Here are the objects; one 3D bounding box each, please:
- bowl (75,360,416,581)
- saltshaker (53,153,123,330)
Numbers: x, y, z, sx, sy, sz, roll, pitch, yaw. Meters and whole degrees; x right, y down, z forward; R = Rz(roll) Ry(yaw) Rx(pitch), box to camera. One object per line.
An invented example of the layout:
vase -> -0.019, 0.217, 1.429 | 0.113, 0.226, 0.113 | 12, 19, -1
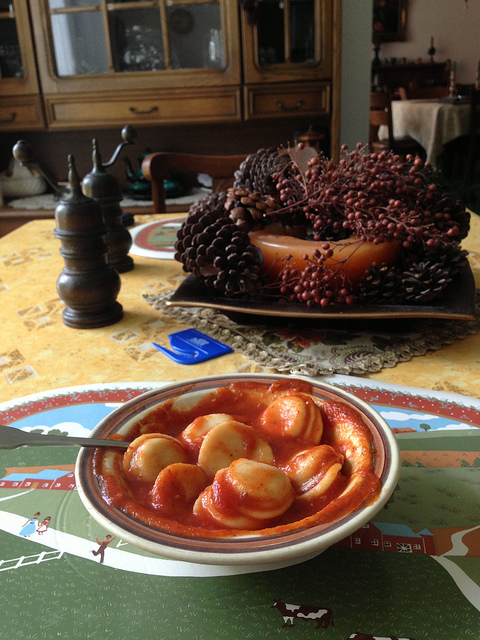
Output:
bowl -> -0.001, 0.086, 0.314 | 0.170, 0.042, 0.152 | -5, 26, -13
saltshaker -> -0.205, -0.104, 0.709 | 0.081, 0.208, 0.136 | -9, 22, -11
